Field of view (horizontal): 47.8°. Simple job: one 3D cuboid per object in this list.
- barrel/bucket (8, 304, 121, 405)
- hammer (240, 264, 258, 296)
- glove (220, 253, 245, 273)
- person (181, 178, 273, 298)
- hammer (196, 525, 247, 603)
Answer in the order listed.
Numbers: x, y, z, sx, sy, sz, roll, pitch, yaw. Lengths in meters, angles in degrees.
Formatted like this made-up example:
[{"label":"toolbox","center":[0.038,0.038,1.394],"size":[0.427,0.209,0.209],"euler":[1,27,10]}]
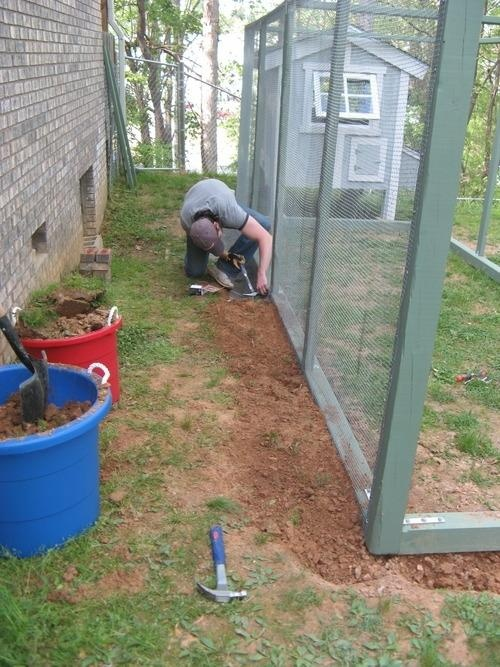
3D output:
[{"label":"barrel/bucket","center":[-0.919,0.096,3.125],"size":[0.595,0.610,0.594],"euler":[0,8,0]},{"label":"hammer","center":[-0.032,-0.519,6.053],"size":[0.224,0.090,0.328],"euler":[20,46,-34]},{"label":"glove","center":[-0.177,-0.770,6.080],"size":[0.249,0.147,0.103],"euler":[21,32,9]},{"label":"person","center":[-0.249,-0.994,5.826],"size":[0.936,1.107,0.928],"euler":[2,19,-7]},{"label":"hammer","center":[-0.138,0.934,2.355],"size":[0.189,0.054,0.462],"euler":[7,15,-10]}]
